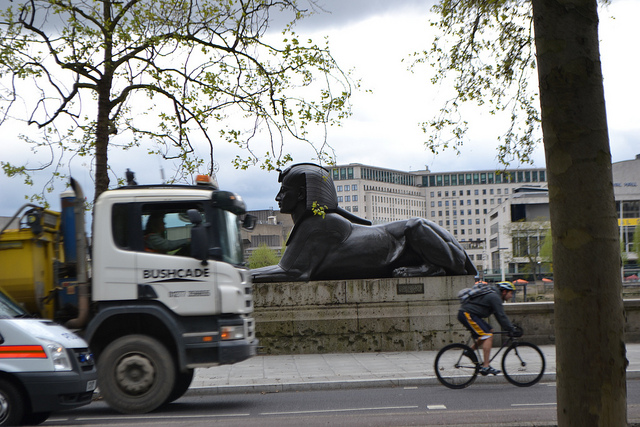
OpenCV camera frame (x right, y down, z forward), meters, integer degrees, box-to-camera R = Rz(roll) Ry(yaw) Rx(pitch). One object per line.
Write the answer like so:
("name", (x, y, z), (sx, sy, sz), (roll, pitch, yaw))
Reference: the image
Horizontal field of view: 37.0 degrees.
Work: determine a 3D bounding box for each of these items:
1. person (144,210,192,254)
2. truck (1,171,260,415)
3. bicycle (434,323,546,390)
("person", (-2.681, 0.406, 17.178), (1.005, 0.873, 0.700), (0, -2, 3))
("truck", (-3.214, 1.529, 18.244), (6.360, 3.562, 3.511), (-2, -3, 5))
("bicycle", (3.249, 2.702, 18.169), (2.216, 1.174, 0.577), (0, -11, -9))
